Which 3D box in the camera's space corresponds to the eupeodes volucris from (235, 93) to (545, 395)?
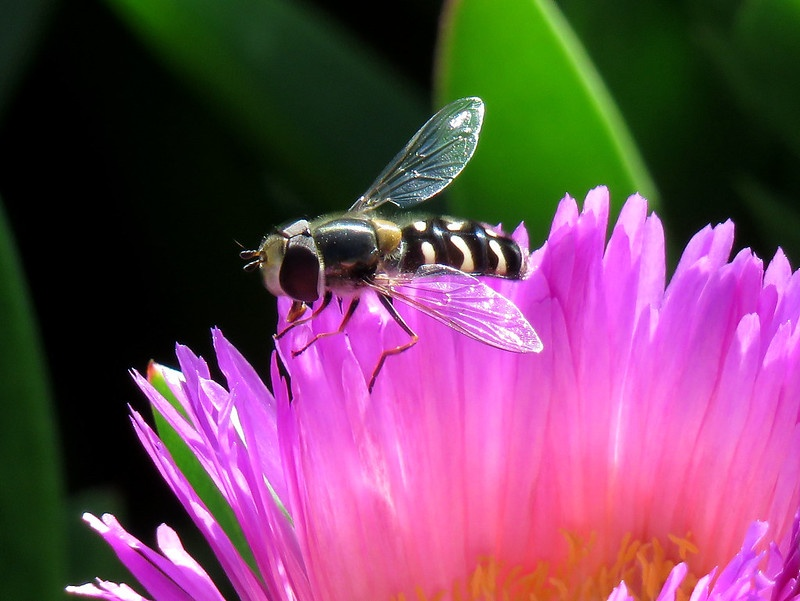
[{"bbox_3d":[-0.003,-0.031,0.942,0.236,0.106,0.348,-9,52,3],"label":"eupeodes volucris"}]
